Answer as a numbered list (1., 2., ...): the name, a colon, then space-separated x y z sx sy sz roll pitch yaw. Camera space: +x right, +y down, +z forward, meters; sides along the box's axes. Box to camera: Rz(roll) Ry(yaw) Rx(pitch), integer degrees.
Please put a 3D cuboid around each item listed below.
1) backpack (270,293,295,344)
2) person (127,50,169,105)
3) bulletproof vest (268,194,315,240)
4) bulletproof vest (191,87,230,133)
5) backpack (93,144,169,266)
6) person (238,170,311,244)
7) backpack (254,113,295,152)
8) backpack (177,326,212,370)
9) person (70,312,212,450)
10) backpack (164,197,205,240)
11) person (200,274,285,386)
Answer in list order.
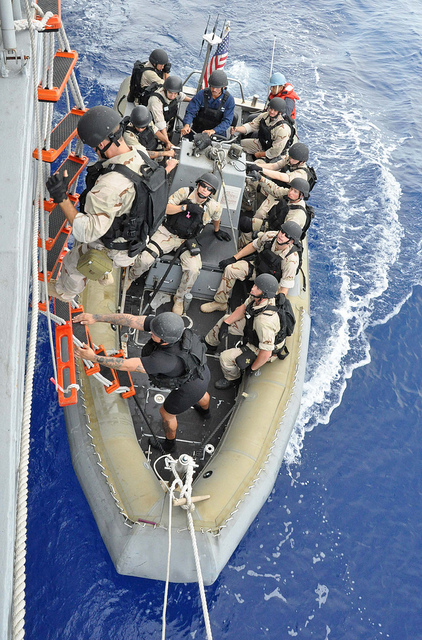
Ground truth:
1. backpack: 0.669 -0.003 5.937 0.256 0.428 0.293 -5 59 2
2. person: -0.778 -2.969 7.939 0.514 0.889 0.354 8 50 -9
3. bulletproof vest: 0.845 -1.127 7.024 0.497 0.515 0.571 15 25 16
4. bulletproof vest: -0.036 -2.599 8.070 0.495 0.627 0.444 7 31 4
5. backpack: -0.562 -0.819 4.797 0.455 0.624 0.524 -16 23 -40
6. person: 0.721 -1.273 7.021 0.615 0.981 0.613 -5 66 -29
7. backpack: 0.768 -2.457 8.201 0.567 0.531 0.358 -11 69 -7
8. backpack: -0.133 0.248 5.269 0.208 0.361 0.256 -11 57 12
9. person: -0.532 0.482 5.328 1.212 1.455 0.596 0 47 -8
10. backpack: -0.264 -1.012 6.182 0.314 0.330 0.181 29 25 -20
11. person: 0.323 0.126 6.116 0.731 0.969 0.578 5 57 -19
